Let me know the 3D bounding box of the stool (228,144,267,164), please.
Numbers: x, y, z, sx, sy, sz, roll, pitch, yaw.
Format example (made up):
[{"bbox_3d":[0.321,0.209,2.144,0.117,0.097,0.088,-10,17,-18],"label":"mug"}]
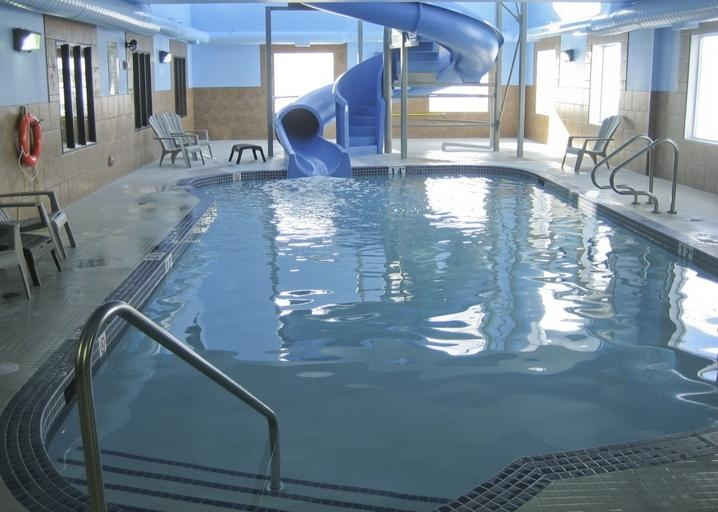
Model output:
[{"bbox_3d":[-2.909,-2.639,12.723,0.905,0.473,1.021,-5,20,-15],"label":"stool"}]

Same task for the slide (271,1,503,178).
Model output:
[{"bbox_3d":[0.546,-3.715,12.064,4.743,3.971,4.869,1,4,-26],"label":"slide"}]

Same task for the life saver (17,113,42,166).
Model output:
[{"bbox_3d":[-4.587,-1.611,6.788,0.225,0.763,0.542,2,4,-14],"label":"life saver"}]

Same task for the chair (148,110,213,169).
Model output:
[{"bbox_3d":[-4.759,-2.981,13.030,1.426,1.603,3.640,2,3,-18],"label":"chair"}]
